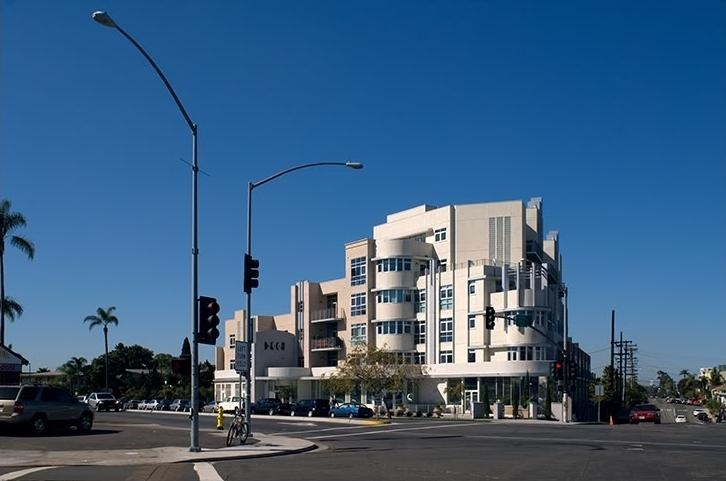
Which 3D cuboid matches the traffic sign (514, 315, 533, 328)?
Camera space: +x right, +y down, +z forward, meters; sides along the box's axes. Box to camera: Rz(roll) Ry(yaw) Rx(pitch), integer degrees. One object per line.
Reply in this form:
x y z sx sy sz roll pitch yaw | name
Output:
13.865 7.052 84.722 1.835 1.351 1.014 0 -2 12 | traffic sign

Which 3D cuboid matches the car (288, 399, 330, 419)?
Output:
-4.885 15.925 92.616 1.855 1.261 3.046 8 -8 -38 | car

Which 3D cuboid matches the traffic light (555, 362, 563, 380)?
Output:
15.844 10.509 79.163 0.801 1.201 0.556 14 -22 -33 | traffic light

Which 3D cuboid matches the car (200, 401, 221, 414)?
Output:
-16.262 18.284 106.304 1.900 1.429 4.214 6 -9 -27 | car

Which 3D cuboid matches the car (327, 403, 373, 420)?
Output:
-1.171 15.278 87.331 1.597 0.946 3.092 5 -15 -33 | car

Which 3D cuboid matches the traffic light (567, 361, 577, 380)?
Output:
16.985 10.619 79.648 0.727 1.577 1.227 -3 -19 12 | traffic light
